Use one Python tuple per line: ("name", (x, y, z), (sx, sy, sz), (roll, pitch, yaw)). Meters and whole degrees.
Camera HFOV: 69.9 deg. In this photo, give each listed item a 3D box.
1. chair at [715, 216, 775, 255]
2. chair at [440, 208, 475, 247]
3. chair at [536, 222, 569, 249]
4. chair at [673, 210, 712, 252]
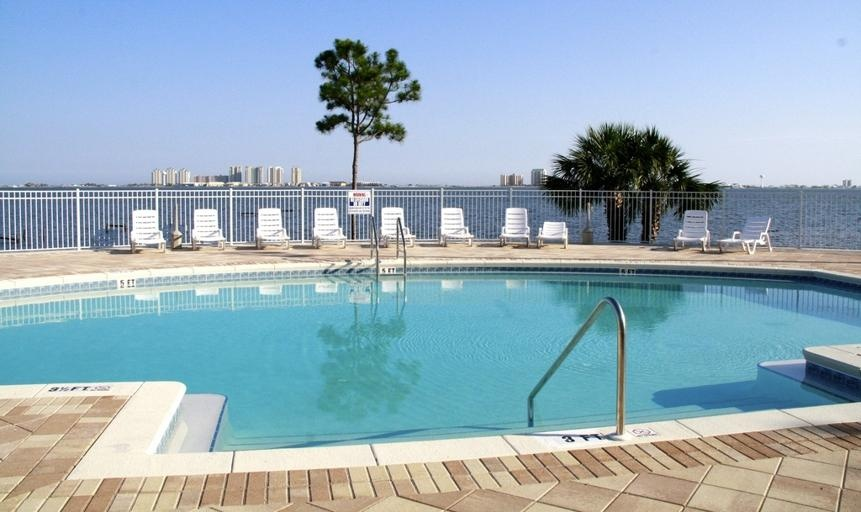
("chair", (9.055, -0.566, 17.861), (2.149, 1.165, 1.145), (-5, 4, -34))
("chair", (0.827, -0.905, 19.465), (0.957, 1.137, 0.893), (0, 14, 1))
("chair", (3.795, -0.632, 19.108), (0.909, 0.782, 1.261), (0, 1, 12))
("chair", (7.786, -0.733, 18.203), (0.921, 1.102, 1.236), (6, 15, 21))
